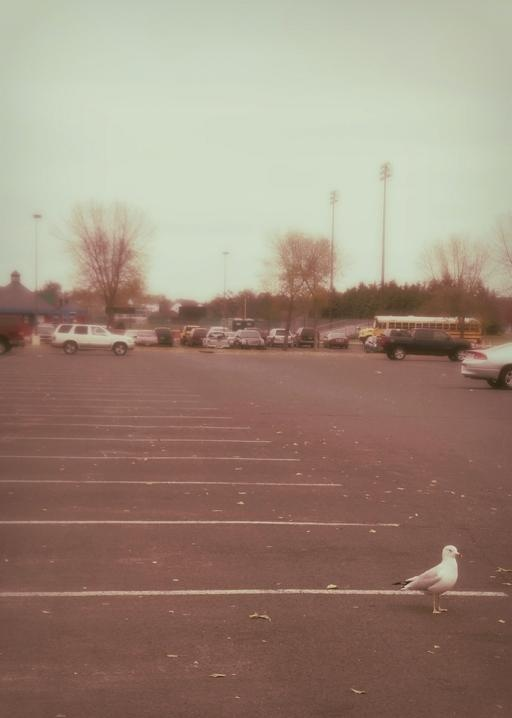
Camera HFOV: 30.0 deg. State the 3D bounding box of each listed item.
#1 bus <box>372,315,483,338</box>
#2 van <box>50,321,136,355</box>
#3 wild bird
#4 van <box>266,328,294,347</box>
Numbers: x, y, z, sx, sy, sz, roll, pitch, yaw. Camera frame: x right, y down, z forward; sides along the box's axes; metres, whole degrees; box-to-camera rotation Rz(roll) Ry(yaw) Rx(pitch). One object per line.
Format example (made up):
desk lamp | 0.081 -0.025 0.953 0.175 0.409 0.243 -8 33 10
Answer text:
bus | 12.148 -1.589 68.439 5.435 2.915 5.723 0 5 -39
van | -7.161 -0.856 41.706 2.925 1.335 1.477 -1 4 -8
wild bird | 0.968 1.285 5.617 0.491 0.453 0.258 -6 -5 16
van | 1.672 -1.391 65.162 1.570 1.186 3.890 1 4 -2
